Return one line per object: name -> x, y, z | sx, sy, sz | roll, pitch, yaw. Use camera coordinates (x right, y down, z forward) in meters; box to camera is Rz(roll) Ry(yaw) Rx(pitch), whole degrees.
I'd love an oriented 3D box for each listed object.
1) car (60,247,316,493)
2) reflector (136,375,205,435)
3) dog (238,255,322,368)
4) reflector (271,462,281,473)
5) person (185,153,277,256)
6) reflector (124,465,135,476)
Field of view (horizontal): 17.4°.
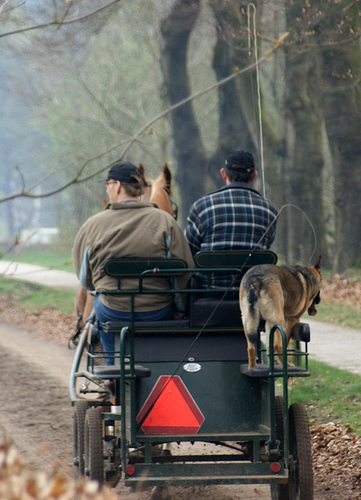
car -> -0.032, 1.135, 12.476 | 1.751, 1.910, 2.846 | -1, 6, -7
reflector -> -0.103, 1.524, 11.697 | 0.663, 0.562, 0.205 | 2, -3, -2
dog -> 1.032, 0.690, 12.153 | 0.674, 1.159, 0.883 | 1, 9, -2
reflector -> 0.893, 2.076, 11.285 | 0.081, 0.087, 0.035 | -1, -2, 9
person -> 0.621, -0.340, 12.893 | 0.957, 1.516, 1.530 | 5, 1, 13
reflector -> -0.494, 2.091, 11.249 | 0.101, 0.087, 0.028 | 3, -3, -20
